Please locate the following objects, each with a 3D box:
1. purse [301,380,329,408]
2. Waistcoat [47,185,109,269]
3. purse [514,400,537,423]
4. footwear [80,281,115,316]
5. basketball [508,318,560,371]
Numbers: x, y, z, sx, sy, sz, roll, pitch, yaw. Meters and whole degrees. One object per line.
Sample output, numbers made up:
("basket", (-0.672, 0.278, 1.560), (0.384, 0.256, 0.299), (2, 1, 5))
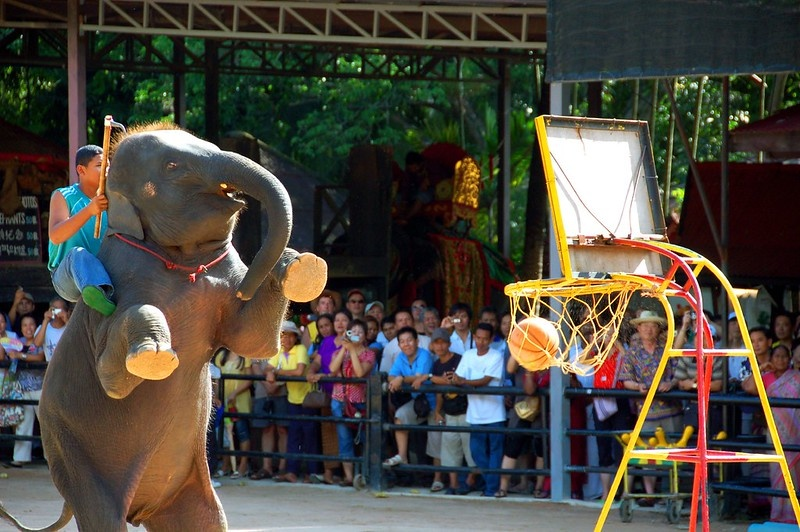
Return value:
("purse", (-1.049, 1.560, 21.124), (0.346, 0.381, 0.157), (-1, -22, 6))
("Waistcoat", (-3.057, -0.353, 16.500), (0.442, 0.799, 0.625), (15, 0, 31))
("purse", (1.479, 1.709, 20.518), (0.244, 0.178, 0.130), (-8, 4, -1))
("footwear", (-2.807, 0.302, 16.110), (0.358, 0.200, 0.143), (40, 8, -11))
("basketball", (1.378, 0.790, 17.795), (0.438, 0.437, 0.521), (30, 1, -19))
